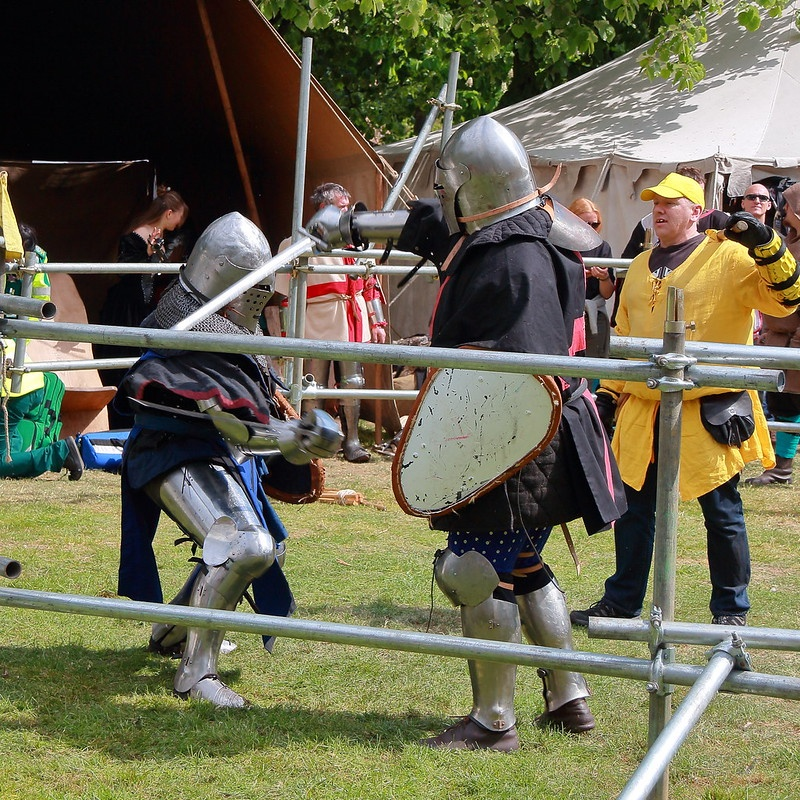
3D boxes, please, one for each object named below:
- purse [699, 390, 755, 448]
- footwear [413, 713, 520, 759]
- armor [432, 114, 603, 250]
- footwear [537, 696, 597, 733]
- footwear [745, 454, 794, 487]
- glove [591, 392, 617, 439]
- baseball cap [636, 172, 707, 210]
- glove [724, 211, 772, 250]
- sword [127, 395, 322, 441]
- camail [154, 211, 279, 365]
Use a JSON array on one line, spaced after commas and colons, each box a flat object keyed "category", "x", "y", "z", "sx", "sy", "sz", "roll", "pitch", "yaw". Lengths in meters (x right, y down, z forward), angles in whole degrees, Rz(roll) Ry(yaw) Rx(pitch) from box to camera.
[{"category": "purse", "x": 1.266, "y": 0.074, "z": 5.511, "sx": 0.263, "sy": 0.198, "sz": 0.086, "roll": -9, "pitch": 0, "yaw": -25}, {"category": "footwear", "x": 0.211, "y": 1.044, "z": 4.474, "sx": 0.332, "sy": 0.109, "sz": 0.108, "roll": 3, "pitch": -7, "yaw": 7}, {"category": "armor", "x": 0.396, "y": -0.716, "z": 4.682, "sx": 0.609, "sy": 0.348, "sz": 0.335, "roll": 8, "pitch": 30, "yaw": 22}, {"category": "footwear", "x": 0.544, "y": 1.023, "z": 4.683, "sx": 0.225, "sy": 0.118, "sz": 0.078, "roll": 0, "pitch": -1, "yaw": 29}, {"category": "footwear", "x": 2.243, "y": 0.441, "z": 8.627, "sx": 0.388, "sy": 0.209, "sz": 0.126, "roll": 2, "pitch": -5, "yaw": 4}, {"category": "glove", "x": 0.865, "y": 0.060, "z": 5.941, "sx": 0.083, "sy": 0.187, "sz": 0.155, "roll": 14, "pitch": 4, "yaw": -11}, {"category": "baseball cap", "x": 1.090, "y": -0.830, "z": 5.701, "sx": 0.258, "sy": 0.086, "sz": 0.156, "roll": 7, "pitch": 0, "yaw": -14}, {"category": "glove", "x": 1.240, "y": -0.604, "z": 5.194, "sx": 0.165, "sy": 0.067, "sz": 0.118, "roll": 28, "pitch": -30, "yaw": -17}, {"category": "sword", "x": -0.603, "y": 0.039, "z": 4.830, "sx": 0.386, "sy": 0.115, "sz": 0.230, "roll": 4, "pitch": -5, "yaw": -19}, {"category": "camail", "x": -0.593, "y": -0.464, "z": 5.159, "sx": 0.513, "sy": 0.450, "sz": 0.453, "roll": 1, "pitch": 25, "yaw": -25}]
